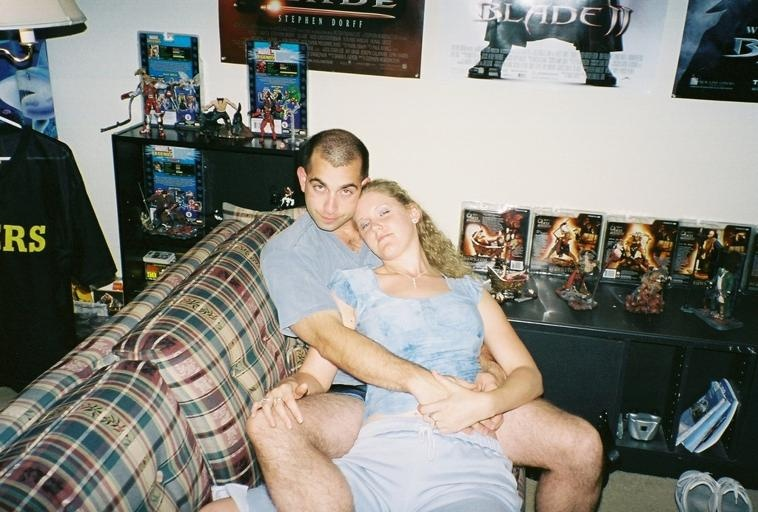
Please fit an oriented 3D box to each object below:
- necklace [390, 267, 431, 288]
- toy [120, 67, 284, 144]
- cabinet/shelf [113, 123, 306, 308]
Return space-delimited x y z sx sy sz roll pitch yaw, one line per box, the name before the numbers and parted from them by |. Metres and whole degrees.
necklace | 0.152 0.111 2.875 0.110 0.037 0.122 13 35 13
toy | -1.215 -1.018 3.873 1.065 0.434 0.365 1 14 -5
cabinet/shelf | -1.037 -0.281 3.533 1.240 1.167 0.393 0 13 1
